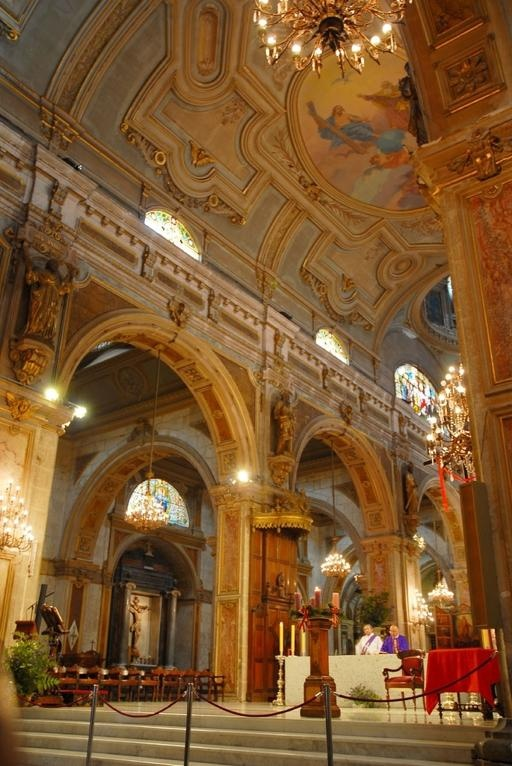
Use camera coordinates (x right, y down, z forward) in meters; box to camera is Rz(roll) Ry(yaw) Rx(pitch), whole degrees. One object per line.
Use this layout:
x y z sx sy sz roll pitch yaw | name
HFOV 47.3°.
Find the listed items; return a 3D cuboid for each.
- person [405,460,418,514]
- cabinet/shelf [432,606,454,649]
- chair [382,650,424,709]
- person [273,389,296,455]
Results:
4.811 3.286 18.234 0.384 1.788 0.601 -7 -27 15 | person
6.810 8.842 21.101 0.702 1.399 3.558 -7 -27 16 | cabinet/shelf
2.263 4.467 8.956 0.621 0.650 1.574 -4 -26 10 | chair
0.724 0.997 13.880 0.431 1.745 0.710 -17 -31 32 | person
